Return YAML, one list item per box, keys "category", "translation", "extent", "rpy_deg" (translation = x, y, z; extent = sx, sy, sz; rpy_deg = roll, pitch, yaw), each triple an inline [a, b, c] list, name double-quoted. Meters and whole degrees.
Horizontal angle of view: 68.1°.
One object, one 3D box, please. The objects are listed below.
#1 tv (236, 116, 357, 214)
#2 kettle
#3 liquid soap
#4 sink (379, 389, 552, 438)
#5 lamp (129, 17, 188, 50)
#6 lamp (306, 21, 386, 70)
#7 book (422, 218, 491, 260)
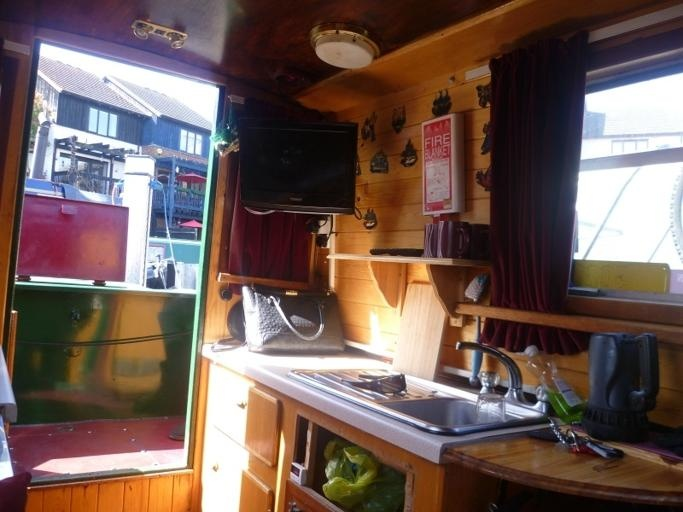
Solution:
- category: "tv"
  translation: [-0.255, -0.497, 2.911]
  extent: [0.693, 0.552, 0.084]
  rpy_deg: [4, 9, 8]
- category: "kettle"
  translation: [0.995, 0.469, 1.808]
  extent: [0.226, 0.394, 0.098]
  rpy_deg: [4, 6, 27]
- category: "liquid soap"
  translation: [0.886, 0.527, 2.037]
  extent: [0.106, 0.286, 0.134]
  rpy_deg: [-13, -18, -35]
- category: "sink"
  translation: [0.447, 0.647, 2.040]
  extent: [0.340, 0.128, 0.283]
  rpy_deg: [2, 0, -31]
- category: "lamp"
  translation: [-0.955, -1.137, 2.659]
  extent: [0.274, 0.080, 0.268]
  rpy_deg: [-1, 5, -23]
- category: "lamp"
  translation: [0.000, -1.034, 2.519]
  extent: [0.370, 0.091, 0.379]
  rpy_deg: [10, 4, 36]
- category: "book"
  translation: [0.540, -0.071, 2.370]
  extent: [0.155, 0.180, 0.267]
  rpy_deg: [3, -3, -27]
